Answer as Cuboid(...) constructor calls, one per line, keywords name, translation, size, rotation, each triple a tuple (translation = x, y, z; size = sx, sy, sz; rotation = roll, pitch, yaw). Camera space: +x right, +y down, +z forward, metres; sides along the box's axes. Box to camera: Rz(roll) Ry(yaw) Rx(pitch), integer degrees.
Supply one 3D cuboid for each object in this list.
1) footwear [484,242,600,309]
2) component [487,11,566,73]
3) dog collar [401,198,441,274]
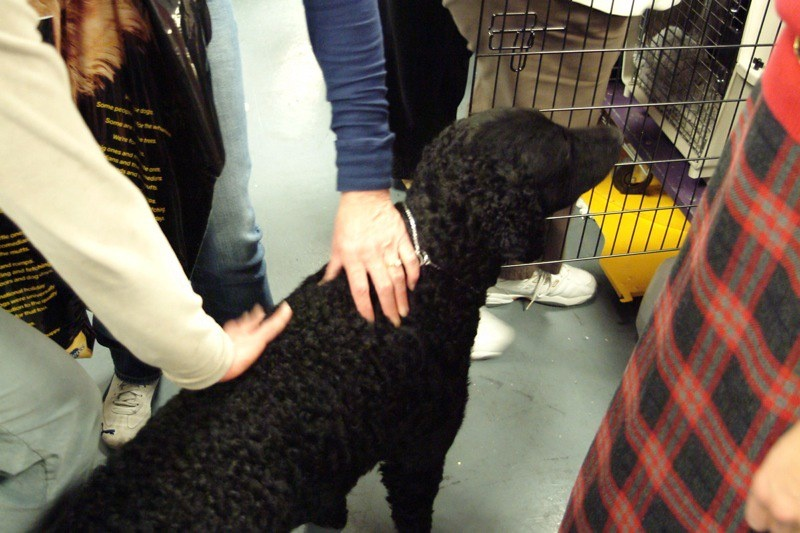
Cuboid(name="footwear", translation=(0.684, 0.052, 2.961), size=(0.589, 0.259, 0.256), rotation=(-3, 68, 0))
Cuboid(name="component", translation=(0.508, -0.878, 2.327), size=(0.317, 0.222, 0.176), rotation=(-6, 27, -3))
Cuboid(name="dog collar", translation=(0.031, -0.099, 1.826), size=(0.046, 0.130, 0.178), rotation=(-21, 77, -7))
